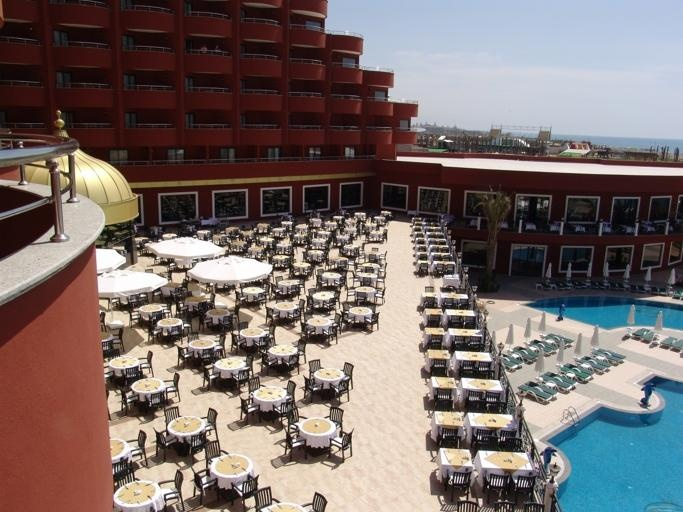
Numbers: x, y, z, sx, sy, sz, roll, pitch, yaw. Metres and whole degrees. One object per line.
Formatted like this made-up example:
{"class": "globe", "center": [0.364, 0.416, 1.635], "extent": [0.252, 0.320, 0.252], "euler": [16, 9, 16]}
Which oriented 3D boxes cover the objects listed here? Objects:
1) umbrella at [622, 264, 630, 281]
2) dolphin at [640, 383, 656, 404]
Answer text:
{"class": "umbrella", "center": [21.680, 1.105, 39.323], "extent": [0.454, 1.198, 2.621], "euler": [9, 16, 29]}
{"class": "dolphin", "center": [12.671, 5.619, 21.527], "extent": [0.552, 0.882, 0.276], "euler": [10, -5, 39]}
